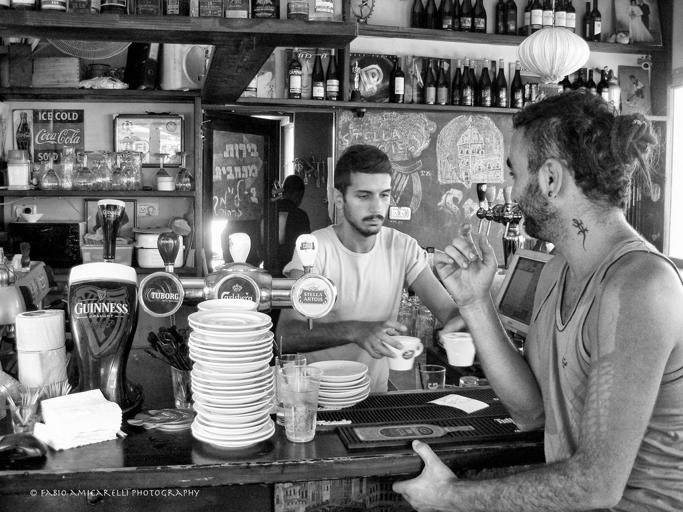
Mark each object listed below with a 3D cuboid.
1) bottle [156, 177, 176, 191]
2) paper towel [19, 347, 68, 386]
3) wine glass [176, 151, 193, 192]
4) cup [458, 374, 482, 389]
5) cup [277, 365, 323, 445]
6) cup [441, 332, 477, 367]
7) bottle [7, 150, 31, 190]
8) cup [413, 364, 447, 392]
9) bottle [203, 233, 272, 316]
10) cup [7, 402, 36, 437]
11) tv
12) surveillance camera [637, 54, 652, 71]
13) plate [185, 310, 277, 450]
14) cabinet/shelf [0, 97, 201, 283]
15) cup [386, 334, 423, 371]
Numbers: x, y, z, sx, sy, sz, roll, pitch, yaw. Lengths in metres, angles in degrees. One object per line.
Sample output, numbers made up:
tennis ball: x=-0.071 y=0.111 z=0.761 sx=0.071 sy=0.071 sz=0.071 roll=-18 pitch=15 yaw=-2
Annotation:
bottle: x=-1.308 y=-0.532 z=5.054 sx=0.123 sy=0.093 sz=0.125 roll=0 pitch=0 yaw=0
paper towel: x=-0.940 y=0.339 z=2.146 sx=0.144 sy=0.141 sz=0.143 roll=-6 pitch=13 yaw=-25
wine glass: x=-1.191 y=-0.636 z=5.142 sx=0.126 sy=0.288 sz=0.312 roll=-3 pitch=7 yaw=-13
cup: x=0.477 y=0.460 z=2.508 sx=0.061 sy=0.047 sz=0.050 roll=2 pitch=2 yaw=4
cup: x=-0.114 y=0.416 z=1.990 sx=0.151 sy=0.209 sz=0.147 roll=-1 pitch=7 yaw=0
cup: x=0.436 y=0.343 z=2.496 sx=0.125 sy=0.097 sz=0.128 roll=-1 pitch=-1 yaw=0
bottle: x=-2.291 y=-0.606 z=4.829 sx=0.140 sy=0.276 sz=0.125 roll=-5 pitch=8 yaw=-32
cup: x=0.323 y=0.438 z=2.476 sx=0.096 sy=0.106 sz=0.094 roll=-1 pitch=4 yaw=0
bottle: x=-0.342 y=0.062 z=2.266 sx=0.157 sy=0.267 sz=0.184 roll=4 pitch=9 yaw=35
cup: x=-0.903 y=0.463 z=1.926 sx=0.074 sy=0.087 sz=0.076 roll=3 pitch=-7 yaw=0
tv: x=0.752 y=0.127 z=2.946 sx=0.098 sy=0.354 sz=0.389 roll=18 pitch=3 yaw=41
surveillance camera: x=2.652 y=-1.676 z=5.937 sx=0.105 sy=0.145 sz=0.060 roll=1 pitch=4 yaw=12
plate: x=-0.308 y=0.332 z=2.089 sx=0.318 sy=0.415 sz=0.325 roll=-3 pitch=7 yaw=-28
cabinet/shelf: x=-1.690 y=-0.474 z=4.606 sx=1.273 sy=1.236 sz=0.386 roll=2 pitch=1 yaw=-12
cup: x=0.225 y=0.339 z=2.393 sx=0.129 sy=0.105 sz=0.115 roll=-2 pitch=10 yaw=-5
